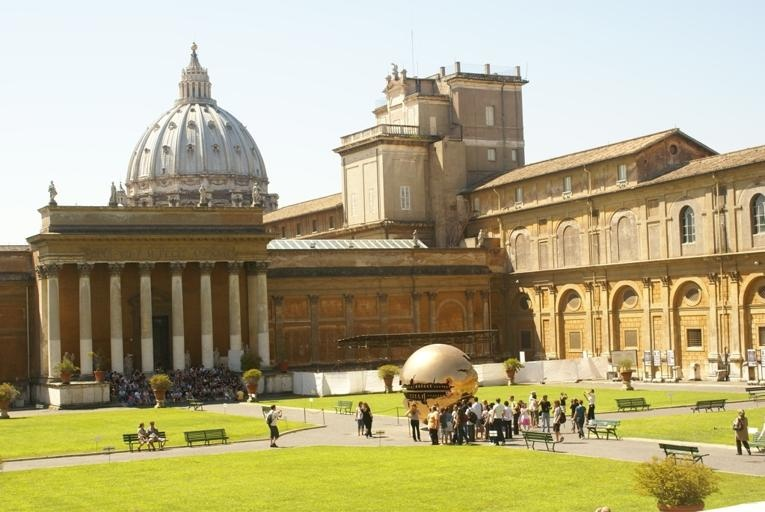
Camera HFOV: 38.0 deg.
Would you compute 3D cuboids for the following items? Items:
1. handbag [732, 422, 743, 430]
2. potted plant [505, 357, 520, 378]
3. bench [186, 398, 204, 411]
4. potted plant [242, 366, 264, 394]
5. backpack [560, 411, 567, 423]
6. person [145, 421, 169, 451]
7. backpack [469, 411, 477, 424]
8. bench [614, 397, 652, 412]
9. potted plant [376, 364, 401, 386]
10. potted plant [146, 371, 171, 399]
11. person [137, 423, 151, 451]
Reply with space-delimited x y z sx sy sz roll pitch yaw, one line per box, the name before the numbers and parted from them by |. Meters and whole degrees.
handbag | 16.295 7.907 51.298 0.655 0.342 0.455 3 -19 7
potted plant | 9.458 8.198 81.340 1.257 1.220 1.206 4 -4 -14
bench | -12.459 10.023 74.326 1.040 0.966 0.774 3 -7 -41
potted plant | -9.282 8.893 79.059 1.920 1.922 1.668 -2 -13 1
backpack | 8.980 8.173 56.054 0.166 0.564 0.519 -2 7 23
person | -11.857 9.538 58.368 0.592 0.914 1.383 0 -2 23
backpack | 4.570 8.312 57.078 0.596 0.547 0.423 1 1 14
bench | 14.429 8.644 64.522 2.213 0.926 1.177 -9 8 -37
potted plant | 0.368 8.517 79.752 1.514 1.464 1.475 2 1 10
potted plant | -15.015 8.798 75.452 1.741 1.776 1.687 0 -9 -2
person | -12.291 9.301 57.065 0.562 1.460 1.399 -6 7 -14
